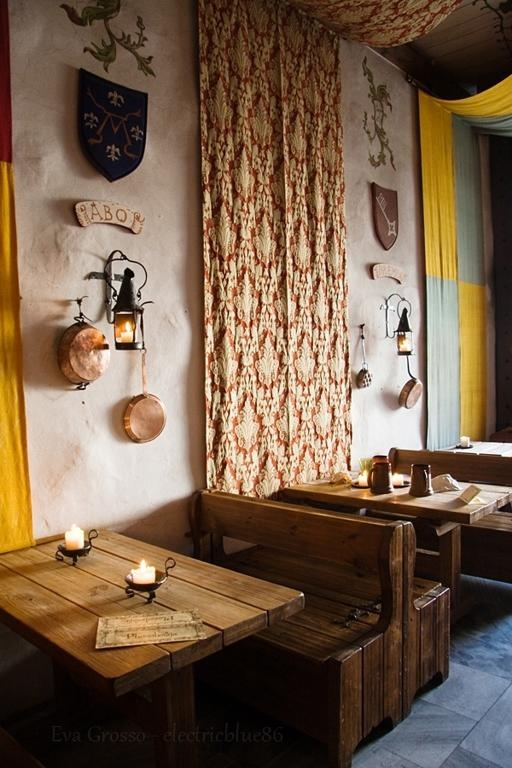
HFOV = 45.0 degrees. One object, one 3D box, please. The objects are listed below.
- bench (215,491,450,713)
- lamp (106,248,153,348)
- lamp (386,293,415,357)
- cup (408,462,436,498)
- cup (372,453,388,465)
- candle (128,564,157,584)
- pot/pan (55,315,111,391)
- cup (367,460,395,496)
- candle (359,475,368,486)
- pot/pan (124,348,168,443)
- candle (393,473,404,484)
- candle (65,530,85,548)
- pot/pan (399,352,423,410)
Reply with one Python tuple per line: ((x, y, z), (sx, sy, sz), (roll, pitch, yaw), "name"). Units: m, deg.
((0.215, 0.909, 2.771), (1.032, 0.882, 0.826), (5, 8, 43), "bench")
((-0.552, -0.362, 2.533), (0.190, 0.422, 0.211), (0, 0, 42), "lamp")
((1.078, -0.463, 4.665), (0.214, 0.478, 0.152), (-2, -3, 27), "lamp")
((0.852, 0.488, 3.222), (0.104, 0.170, 0.163), (0, 2, 10), "cup")
((0.709, 0.431, 3.563), (0.065, 0.064, 0.066), (0, -2, 0), "cup")
((-0.331, 0.556, 1.824), (0.071, 0.082, 0.072), (0, -4, -13), "candle")
((-0.698, -0.123, 2.510), (0.108, 0.289, 0.211), (5, 5, 43), "pot/pan")
((0.641, 0.506, 3.317), (0.107, 0.167, 0.168), (0, -12, -3), "cup")
((0.596, 0.530, 3.443), (0.048, 0.058, 0.050), (-2, -9, 11), "candle")
((-0.499, 0.057, 2.806), (0.079, 0.428, 0.249), (4, 5, 31), "pot/pan")
((0.794, 0.518, 3.438), (0.058, 0.058, 0.060), (-2, -4, -13), "candle")
((-0.632, 0.544, 2.192), (0.065, 0.078, 0.067), (-5, -7, 37), "candle")
((1.249, -0.016, 5.013), (0.159, 0.436, 0.441), (2, 4, 17), "pot/pan")
